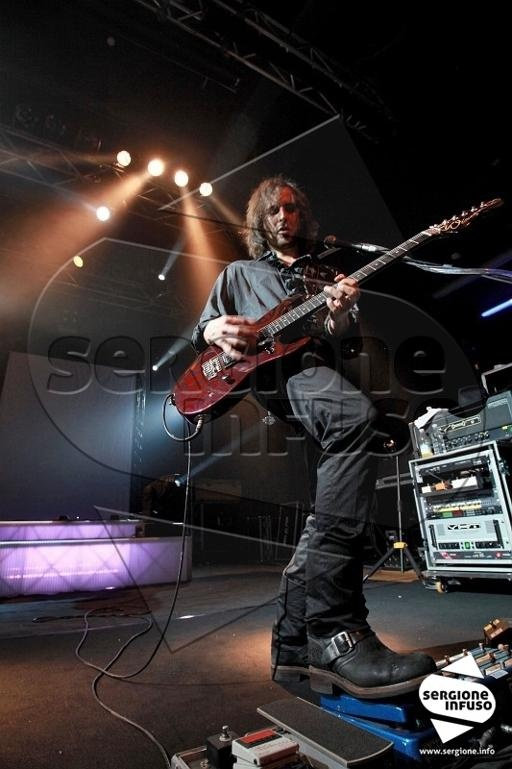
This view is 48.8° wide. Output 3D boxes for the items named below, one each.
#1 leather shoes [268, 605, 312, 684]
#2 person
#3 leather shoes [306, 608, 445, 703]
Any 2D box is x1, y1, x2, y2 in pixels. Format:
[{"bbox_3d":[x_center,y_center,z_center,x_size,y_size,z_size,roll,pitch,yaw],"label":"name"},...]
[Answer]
[{"bbox_3d":[0.176,0.979,2.144,0.117,0.253,0.277,-6,-23,45],"label":"leather shoes"},{"bbox_3d":[0.176,-0.022,2.097,0.374,2.141,0.853,8,-16,-34],"label":"person"},{"bbox_3d":[0.339,0.842,1.706,0.161,0.149,0.359,8,-27,-35],"label":"leather shoes"}]
